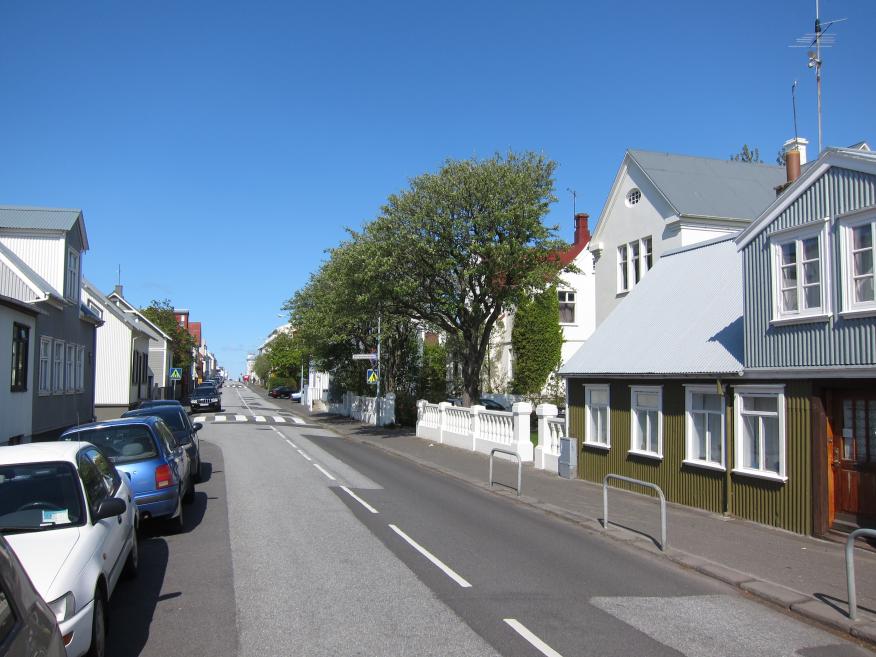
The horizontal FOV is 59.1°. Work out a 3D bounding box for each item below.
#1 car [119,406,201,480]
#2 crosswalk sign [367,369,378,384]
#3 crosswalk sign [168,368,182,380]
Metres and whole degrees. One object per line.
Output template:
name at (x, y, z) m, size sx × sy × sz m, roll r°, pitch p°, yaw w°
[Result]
car at (-6.430, 2.957, 18.732) m, size 1.496 × 1.575 × 2.765 m, roll 0°, pitch 1°, yaw -5°
crosswalk sign at (-3.543, 2.451, 40.639) m, size 0.353 × 0.801 × 0.731 m, roll 6°, pitch -5°, yaw -24°
crosswalk sign at (-22.065, 3.670, 64.453) m, size 0.954 × 1.192 × 0.087 m, roll -1°, pitch -14°, yaw -11°
